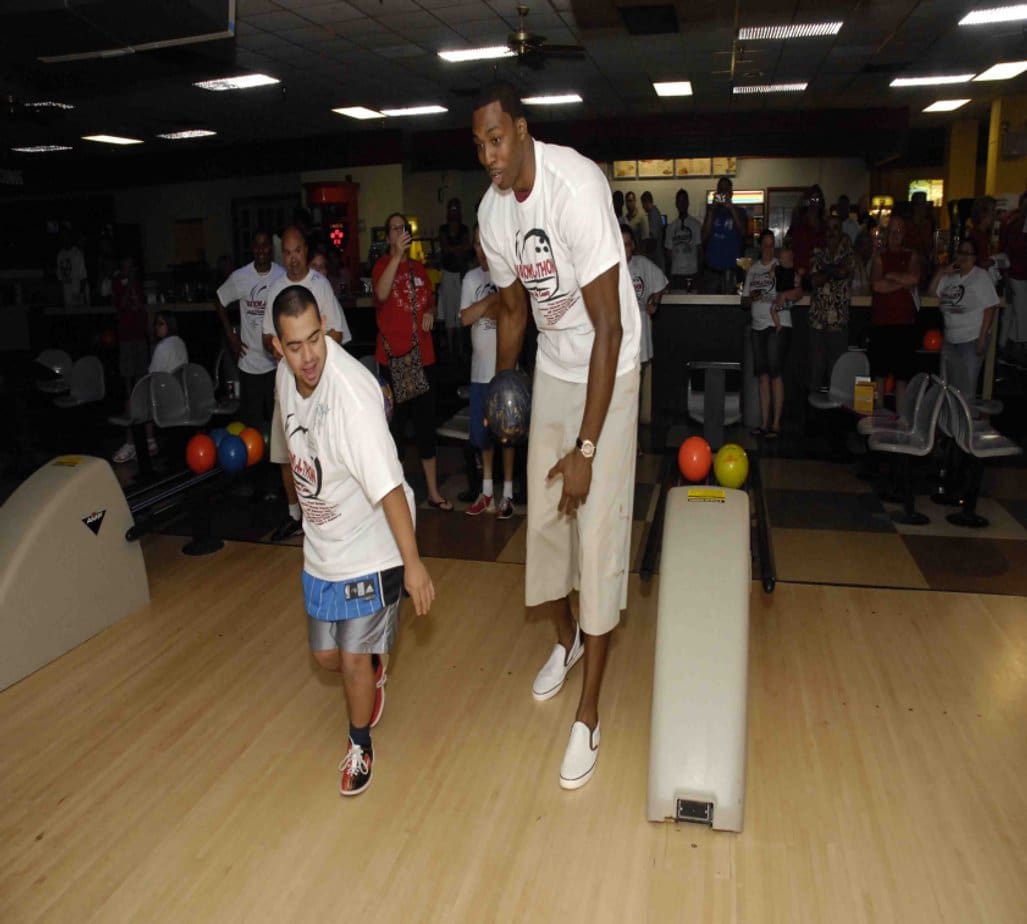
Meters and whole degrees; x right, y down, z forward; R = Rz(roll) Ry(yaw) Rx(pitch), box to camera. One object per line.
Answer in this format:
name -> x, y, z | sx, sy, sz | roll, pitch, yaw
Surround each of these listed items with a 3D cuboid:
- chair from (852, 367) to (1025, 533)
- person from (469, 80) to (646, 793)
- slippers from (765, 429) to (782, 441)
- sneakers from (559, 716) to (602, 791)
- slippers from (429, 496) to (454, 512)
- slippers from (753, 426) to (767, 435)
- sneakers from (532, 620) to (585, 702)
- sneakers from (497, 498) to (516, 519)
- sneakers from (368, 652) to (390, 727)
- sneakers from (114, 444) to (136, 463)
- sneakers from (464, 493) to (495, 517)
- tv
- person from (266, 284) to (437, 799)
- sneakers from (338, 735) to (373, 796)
chair -> 2.743, -0.172, 4.712 | 0.805, 0.887, 1.364 | 5, 15, 22
person -> 0.140, -0.069, 2.253 | 0.538, 1.980, 0.670 | -3, 12, -13
slippers -> 2.330, -0.238, 6.435 | 0.061, 0.061, 0.202 | -2, 7, 9
sneakers -> 0.196, 0.888, 2.140 | 0.063, 0.101, 0.227 | 1, 25, 16
slippers -> -0.476, 0.274, 4.678 | 0.067, 0.094, 0.193 | -3, 5, -33
slippers -> 2.264, -0.288, 6.560 | 0.057, 0.091, 0.201 | -4, 0, 11
sneakers -> 0.165, 0.752, 2.673 | 0.102, 0.121, 0.321 | 8, 50, 36
sneakers -> -0.049, 0.295, 4.479 | 0.052, 0.080, 0.171 | 0, 5, 7
sneakers -> -0.436, 0.764, 2.368 | 0.081, 0.274, 0.078 | 6, 2, -18
sneakers -> -3.297, -0.068, 6.075 | 0.085, 0.122, 0.250 | 2, 13, 5
sneakers -> -0.209, 0.290, 4.627 | 0.084, 0.144, 0.251 | 3, 2, 30
tv -> -2.068, -2.375, 4.021 | 1.544, 0.128, 0.298 | 5, 15, 22
person -> -0.451, 0.251, 2.018 | 0.470, 1.465, 0.312 | 0, 11, 3
sneakers -> -0.467, 0.905, 2.136 | 0.056, 0.088, 0.180 | 1, 15, 1
